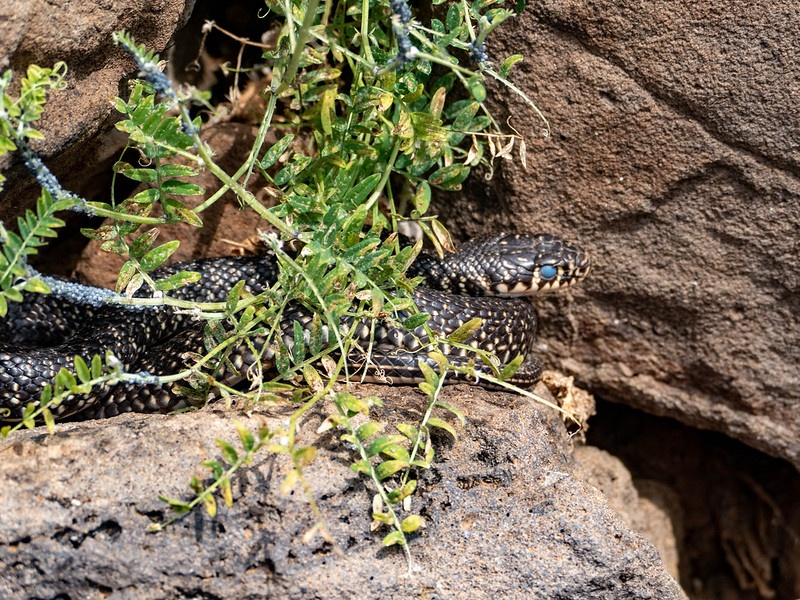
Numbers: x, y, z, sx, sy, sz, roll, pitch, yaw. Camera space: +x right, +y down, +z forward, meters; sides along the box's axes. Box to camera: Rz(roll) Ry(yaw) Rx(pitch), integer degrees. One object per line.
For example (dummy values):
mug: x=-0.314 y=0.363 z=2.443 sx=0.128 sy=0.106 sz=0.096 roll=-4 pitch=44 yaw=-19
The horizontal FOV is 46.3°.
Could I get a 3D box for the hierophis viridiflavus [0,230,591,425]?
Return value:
hierophis viridiflavus: x=-0.588 y=0.115 z=4.994 sx=2.359 sy=0.384 sz=1.327 roll=-1 pitch=14 yaw=0
